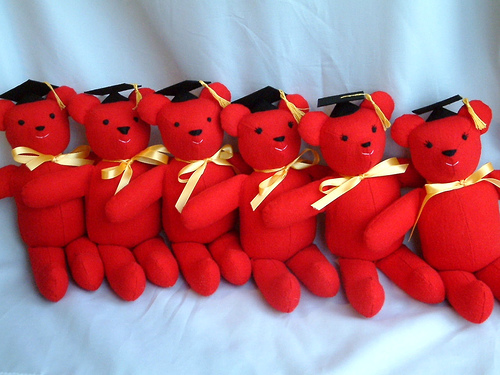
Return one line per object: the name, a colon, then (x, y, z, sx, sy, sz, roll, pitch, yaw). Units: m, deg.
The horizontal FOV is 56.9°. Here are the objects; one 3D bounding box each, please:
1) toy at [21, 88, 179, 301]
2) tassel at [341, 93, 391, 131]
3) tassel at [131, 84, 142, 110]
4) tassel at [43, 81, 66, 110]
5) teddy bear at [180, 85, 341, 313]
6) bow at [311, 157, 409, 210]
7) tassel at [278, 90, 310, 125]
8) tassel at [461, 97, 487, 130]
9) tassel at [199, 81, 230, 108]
toy: (-0.441, 0.008, 1.671, 0.734, 0.703, 0.412, -8, 23, -26)
tassel: (0.417, -0.245, 1.499, 0.097, 0.028, 0.105, -25, 76, 5)
tassel: (-0.405, -0.326, 1.662, 0.049, 0.080, 0.062, 0, 4, 37)
tassel: (-0.722, -0.352, 1.724, 0.033, 0.017, 0.163, -44, 66, 9)
teddy bear: (0.116, 0.030, 1.598, 0.727, 0.711, 0.409, -12, 18, -23)
bow: (0.357, -0.022, 1.555, 0.292, 0.166, 0.222, -4, 22, -7)
tassel: (0.148, -0.263, 1.559, 0.047, 0.038, 0.156, -39, 77, -24)
tassel: (0.715, -0.235, 1.473, 0.047, 0.090, 0.079, -33, 41, -28)
tassel: (-0.115, -0.316, 1.621, 0.138, 0.055, 0.021, 44, 10, 7)
